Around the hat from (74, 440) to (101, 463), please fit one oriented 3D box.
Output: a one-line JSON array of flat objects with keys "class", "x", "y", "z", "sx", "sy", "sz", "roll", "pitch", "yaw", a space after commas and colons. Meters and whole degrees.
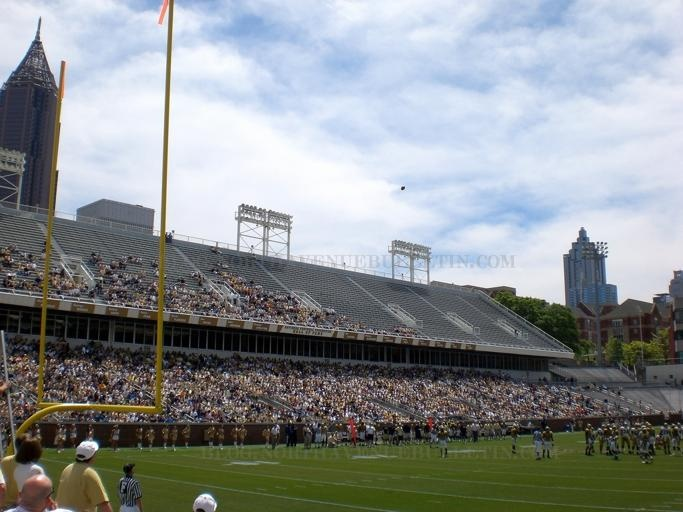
[{"class": "hat", "x": -6.928, "y": 5.367, "z": 27.200, "sx": 0.531, "sy": 0.249, "sz": 0.710, "roll": 10, "pitch": 32, "yaw": 1}]
